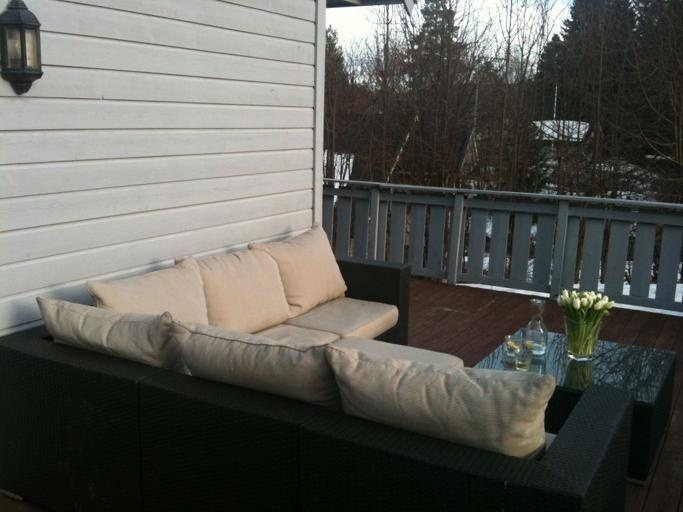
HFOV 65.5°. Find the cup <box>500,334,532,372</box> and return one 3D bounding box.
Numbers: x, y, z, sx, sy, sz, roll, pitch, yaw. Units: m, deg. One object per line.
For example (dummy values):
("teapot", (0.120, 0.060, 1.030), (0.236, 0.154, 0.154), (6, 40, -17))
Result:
("cup", (0.967, 0.525, 3.014), (0.180, 0.168, 0.221), (-1, 12, 6))

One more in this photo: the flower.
("flower", (1.380, 0.418, 3.083), (0.281, 0.360, 0.297), (2, -3, 30))

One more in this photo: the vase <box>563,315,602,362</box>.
("vase", (1.403, 0.464, 3.089), (0.206, 0.241, 0.208), (-4, -8, 43))
